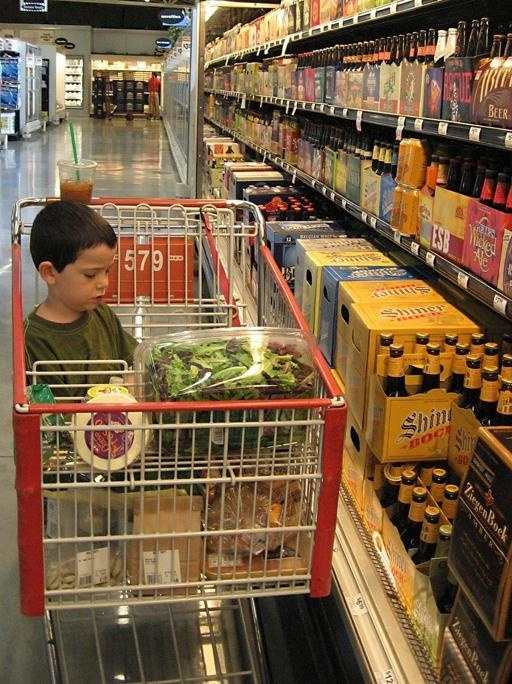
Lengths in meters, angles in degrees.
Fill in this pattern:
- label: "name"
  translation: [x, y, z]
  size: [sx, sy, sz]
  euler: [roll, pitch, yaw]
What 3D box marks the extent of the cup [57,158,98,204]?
- label: "cup"
  translation: [-0.619, -0.538, 1.838]
  size: [0.140, 0.156, 0.148]
  euler: [7, 19, -2]
